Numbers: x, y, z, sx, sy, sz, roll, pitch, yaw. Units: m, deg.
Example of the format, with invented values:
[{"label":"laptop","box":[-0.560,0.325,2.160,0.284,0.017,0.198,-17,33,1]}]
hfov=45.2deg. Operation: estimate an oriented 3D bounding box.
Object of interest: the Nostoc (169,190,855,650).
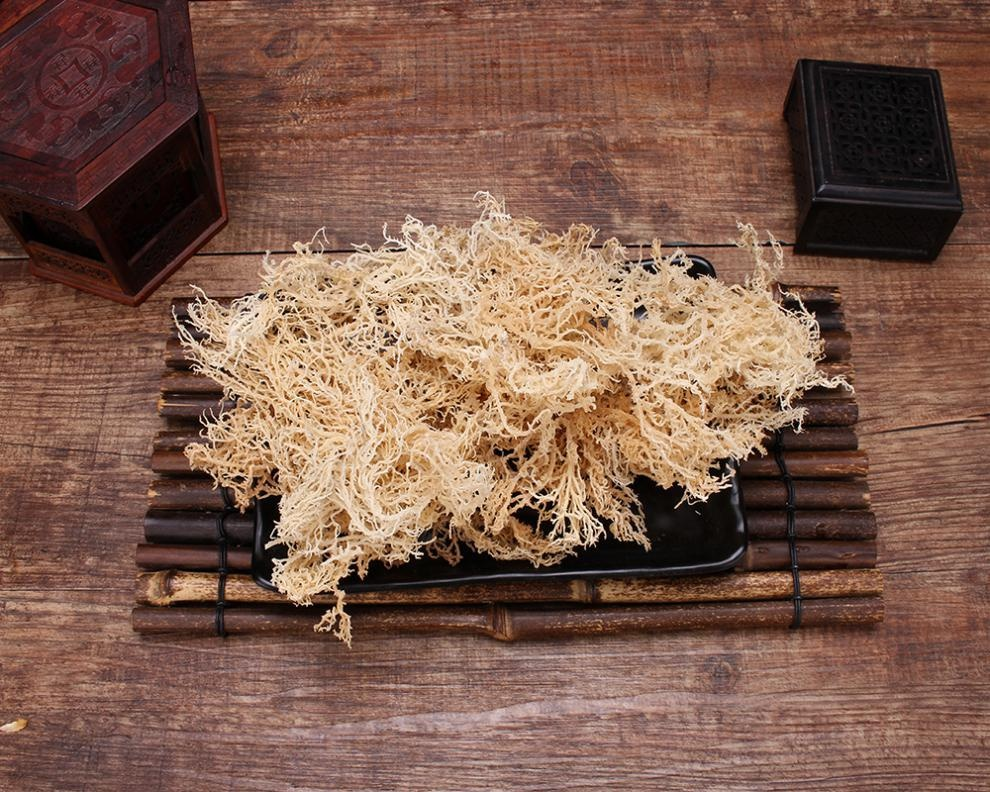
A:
[{"label":"Nostoc","box":[0.008,0.004,2.045,1.047,0.524,0.664,-20,61,-10]}]
